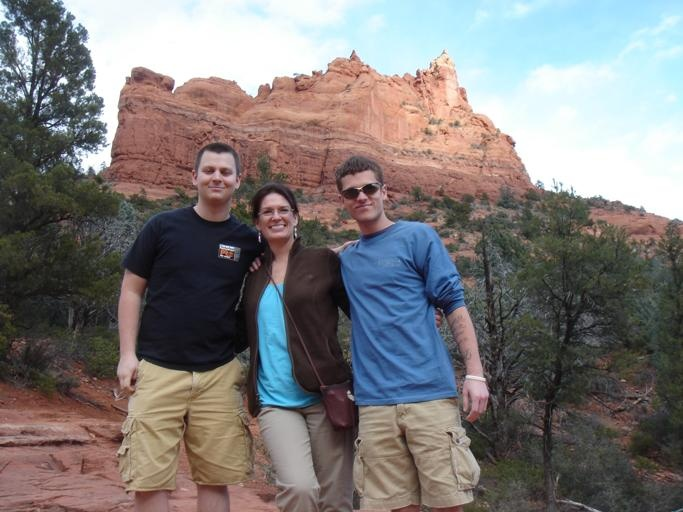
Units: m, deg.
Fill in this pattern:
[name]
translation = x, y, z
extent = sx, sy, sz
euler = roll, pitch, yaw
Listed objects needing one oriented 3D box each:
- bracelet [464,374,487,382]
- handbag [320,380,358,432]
[bracelet]
translation = 1.225, 1.104, 4.926
extent = 0.188, 0.058, 0.106
euler = 9, -9, -2
[handbag]
translation = -0.022, 1.383, 5.034
extent = 0.321, 0.426, 0.174
euler = -18, -10, -11
